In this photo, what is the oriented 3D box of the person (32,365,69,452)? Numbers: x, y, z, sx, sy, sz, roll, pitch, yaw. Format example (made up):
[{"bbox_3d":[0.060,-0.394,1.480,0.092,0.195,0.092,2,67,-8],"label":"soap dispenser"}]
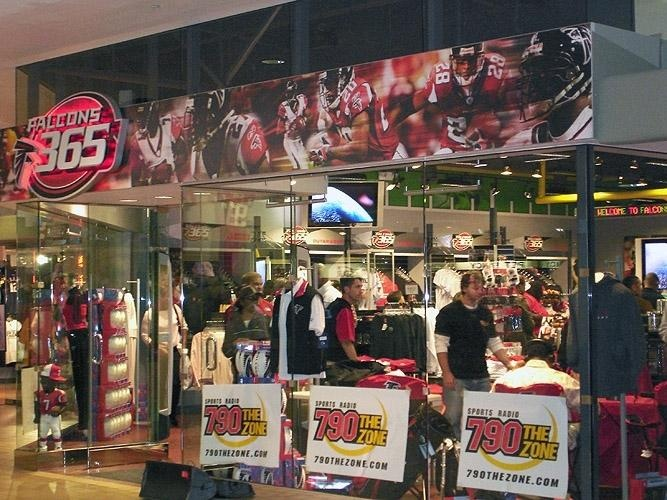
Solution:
[{"bbox_3d":[-3.139,1.747,9.597,0.320,0.936,0.135,-1,-3,-19],"label":"person"}]

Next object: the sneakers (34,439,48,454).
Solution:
[{"bbox_3d":[-3.205,2.161,9.494,0.125,0.154,0.119,2,-6,-14],"label":"sneakers"}]

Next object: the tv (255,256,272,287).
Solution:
[{"bbox_3d":[-0.690,0.201,8.471,0.174,0.247,0.044,-3,-3,30],"label":"tv"}]

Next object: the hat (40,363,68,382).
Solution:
[{"bbox_3d":[-3.122,1.378,9.616,0.245,0.124,0.157,10,-1,6],"label":"hat"}]
